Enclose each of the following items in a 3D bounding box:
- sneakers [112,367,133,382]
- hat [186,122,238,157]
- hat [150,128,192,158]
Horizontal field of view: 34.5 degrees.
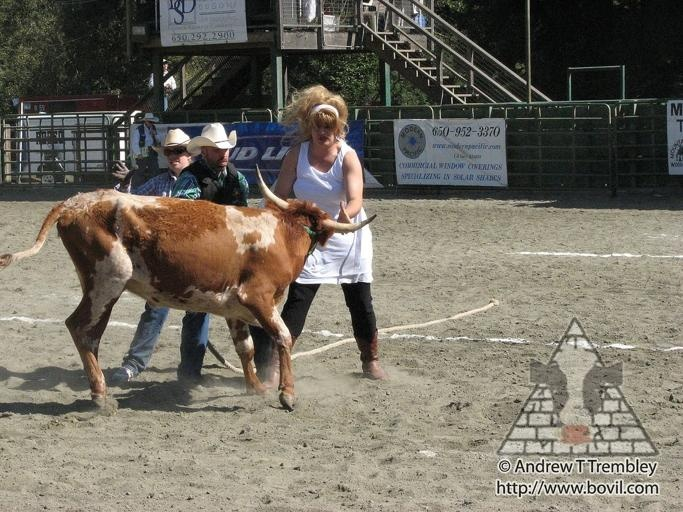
[{"bbox_3d":[-2.250,1.230,11.342,0.138,0.088,0.189,1,3,-11],"label":"sneakers"},{"bbox_3d":[-1.303,-1.161,11.022,0.477,0.310,0.472,-3,11,-8],"label":"hat"},{"bbox_3d":[-1.698,-1.221,11.367,0.334,0.149,0.376,-9,-4,4],"label":"hat"}]
